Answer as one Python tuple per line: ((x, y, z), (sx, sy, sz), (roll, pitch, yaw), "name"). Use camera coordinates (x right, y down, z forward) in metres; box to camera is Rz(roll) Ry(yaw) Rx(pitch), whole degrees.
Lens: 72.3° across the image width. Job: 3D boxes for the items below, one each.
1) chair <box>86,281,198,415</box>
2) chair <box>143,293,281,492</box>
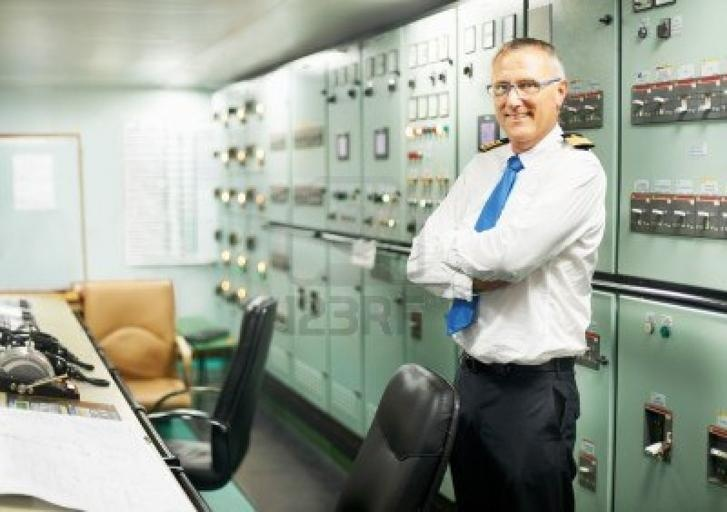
((-0.859, 0.448, 1.854), (0.372, 0.627, 0.344), (0, 11, -34), "chair")
((-0.627, 0.502, 1.842), (0.543, 0.678, 0.400), (4, -1, -17), "chair")
